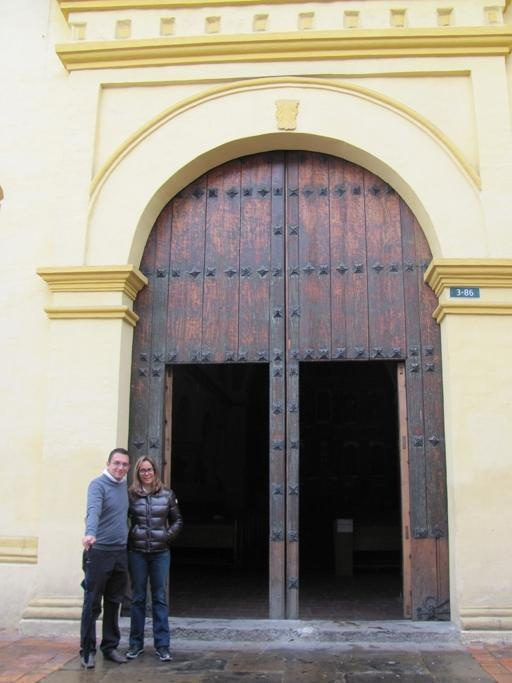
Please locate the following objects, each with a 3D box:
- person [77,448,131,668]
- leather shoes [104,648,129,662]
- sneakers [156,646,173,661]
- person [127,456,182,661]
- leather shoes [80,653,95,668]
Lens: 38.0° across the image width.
[{"bbox_3d":[-1.006,1.438,4.980,0.307,1.410,0.617,0,-11,-11],"label":"person"},{"bbox_3d":[-0.944,2.128,5.022,0.196,0.086,0.068,-7,-17,26],"label":"leather shoes"},{"bbox_3d":[-0.617,2.121,5.022,0.052,0.065,0.146,3,-12,-16],"label":"sneakers"},{"bbox_3d":[-0.736,1.518,5.243,0.349,1.369,0.407,7,-14,-36],"label":"person"},{"bbox_3d":[-1.091,2.088,4.840,0.049,0.061,0.139,6,-25,-1],"label":"leather shoes"}]
